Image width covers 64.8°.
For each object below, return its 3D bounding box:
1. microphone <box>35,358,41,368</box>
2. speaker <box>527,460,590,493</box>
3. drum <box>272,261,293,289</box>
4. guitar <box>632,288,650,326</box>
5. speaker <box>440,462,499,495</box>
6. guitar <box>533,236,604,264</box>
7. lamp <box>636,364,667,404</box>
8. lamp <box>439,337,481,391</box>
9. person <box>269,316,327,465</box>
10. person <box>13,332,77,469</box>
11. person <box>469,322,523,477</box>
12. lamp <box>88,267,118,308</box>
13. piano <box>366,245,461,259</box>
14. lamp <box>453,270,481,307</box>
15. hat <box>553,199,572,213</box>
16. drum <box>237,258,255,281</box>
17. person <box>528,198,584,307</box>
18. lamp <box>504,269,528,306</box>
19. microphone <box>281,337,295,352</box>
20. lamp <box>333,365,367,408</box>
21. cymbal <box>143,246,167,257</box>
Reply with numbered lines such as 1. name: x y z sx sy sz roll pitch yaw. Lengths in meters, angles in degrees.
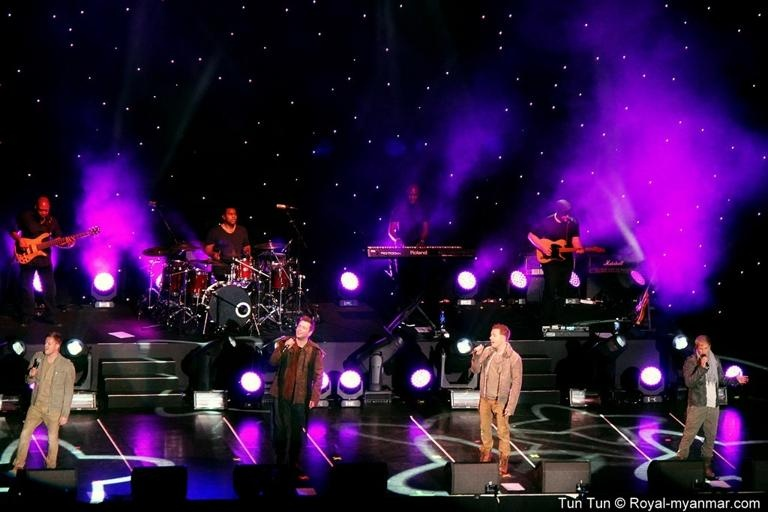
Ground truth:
1. microphone: -4.107 1.265 7.158 0.038 0.104 0.042 10 -12 -38
2. speaker: 1.945 2.427 6.819 0.480 0.294 0.478 0 -2 -4
3. drum: -1.895 0.355 10.960 0.438 0.488 0.439 -1 -3 15
4. guitar: 4.724 0.954 11.155 0.170 0.648 0.360 22 -6 25
5. speaker: 0.946 2.393 6.576 0.518 0.326 0.355 0 1 -5
6. guitar: 3.271 -0.141 11.347 1.108 0.564 0.353 1 -5 15
7. lamp: 4.752 2.248 10.727 0.530 0.623 0.214 4 -5 -17
8. lamp: 1.332 1.822 10.764 0.864 0.893 0.863 -1 5 -14
9. person: -1.074 1.597 7.275 0.615 1.748 0.310 3 -5 -9
10. person: -4.017 1.698 7.161 0.593 1.580 0.323 3 -5 -6
11. person: 1.373 1.776 7.572 0.613 1.837 0.396 1 -5 19
12. lamp: -5.814 0.633 12.467 0.755 1.013 0.390 2 8 -10
13. piano: 0.582 -0.073 10.613 1.791 0.256 0.302 2 -5 -3
14. lamp: 1.692 0.656 12.636 0.437 0.719 0.345 1 1 8
15. hat: 3.359 -0.931 11.448 0.235 0.316 0.583 1 -5 10
16. drum: -2.515 0.232 10.919 0.336 0.341 0.339 -4 -7 9
17. person: 3.324 0.017 11.664 1.140 2.250 0.325 1 0 12
18. lamp: 2.734 0.623 12.508 0.475 0.642 0.168 5 1 35
19. microphone: -1.164 1.047 7.255 0.103 0.140 0.060 45 -8 4
20. lamp: -0.610 2.211 10.199 0.651 0.911 0.363 0 -7 -4
21. cymbal: -4.183 -0.107 11.014 0.394 0.159 0.417 4 -5 -21
